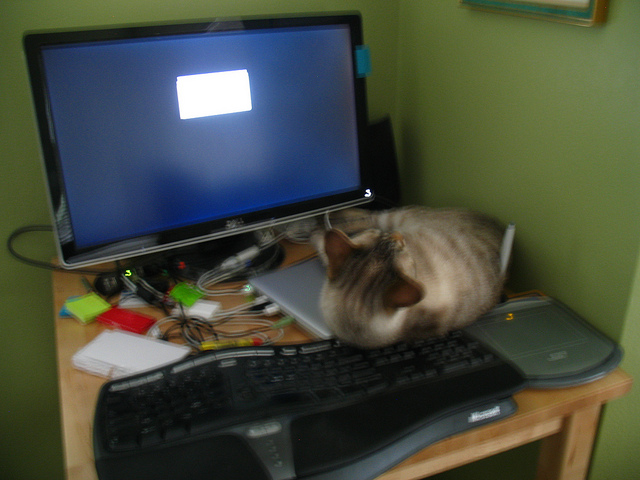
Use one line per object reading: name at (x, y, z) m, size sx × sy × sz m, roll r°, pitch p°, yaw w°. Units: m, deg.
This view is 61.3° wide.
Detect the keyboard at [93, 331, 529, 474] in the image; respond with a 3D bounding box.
keyboard at (-0.002, 0.237, 0.847) m, size 0.669 × 0.070 × 0.222 m, roll -9°, pitch 24°, yaw -11°

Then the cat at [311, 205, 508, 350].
cat at (0.171, 0.055, 1.046) m, size 0.310 × 0.174 × 0.413 m, roll 12°, pitch 29°, yaw 33°

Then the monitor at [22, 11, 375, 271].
monitor at (-0.233, -0.203, 1.052) m, size 0.626 × 0.319 × 0.060 m, roll -16°, pitch 17°, yaw -17°
